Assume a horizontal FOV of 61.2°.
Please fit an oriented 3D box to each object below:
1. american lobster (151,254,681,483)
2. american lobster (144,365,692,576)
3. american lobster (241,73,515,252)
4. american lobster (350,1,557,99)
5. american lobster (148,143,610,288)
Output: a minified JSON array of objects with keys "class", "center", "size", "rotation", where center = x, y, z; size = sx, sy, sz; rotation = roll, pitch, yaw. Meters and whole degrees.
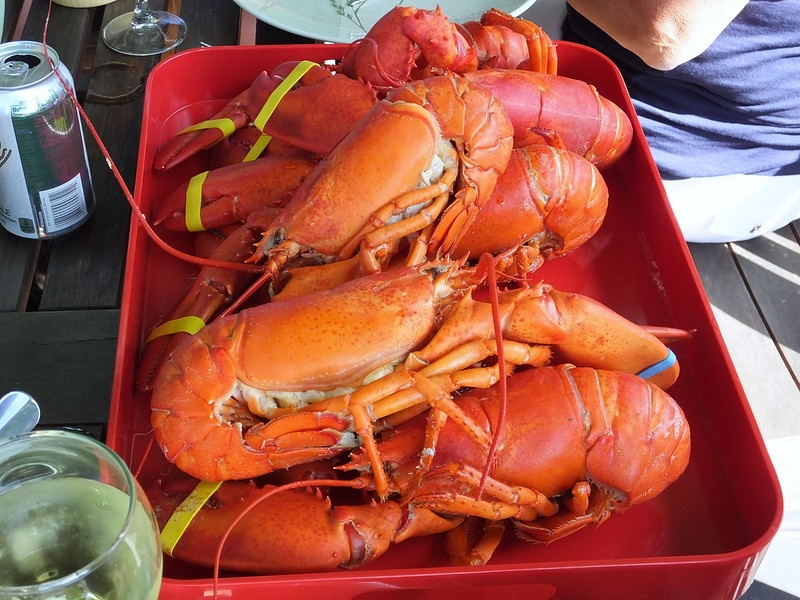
[{"class":"american lobster","center":[0.002,0.105,1.208],"size":[0.918,0.296,0.507],"rotation":[-8,14,-6]},{"class":"american lobster","center":[0.069,0.272,1.201],"size":[0.903,0.262,0.433],"rotation":[-7,21,-4]},{"class":"american lobster","center":[-0.013,-0.244,1.202],"size":[0.258,0.103,0.438],"rotation":[38,86,21]},{"class":"american lobster","center":[0.123,-0.535,1.430],"size":[0.359,0.098,0.279],"rotation":[-6,34,0]},{"class":"american lobster","center":[0.022,-0.198,1.362],"size":[0.687,0.190,0.388],"rotation":[-10,47,-6]}]
